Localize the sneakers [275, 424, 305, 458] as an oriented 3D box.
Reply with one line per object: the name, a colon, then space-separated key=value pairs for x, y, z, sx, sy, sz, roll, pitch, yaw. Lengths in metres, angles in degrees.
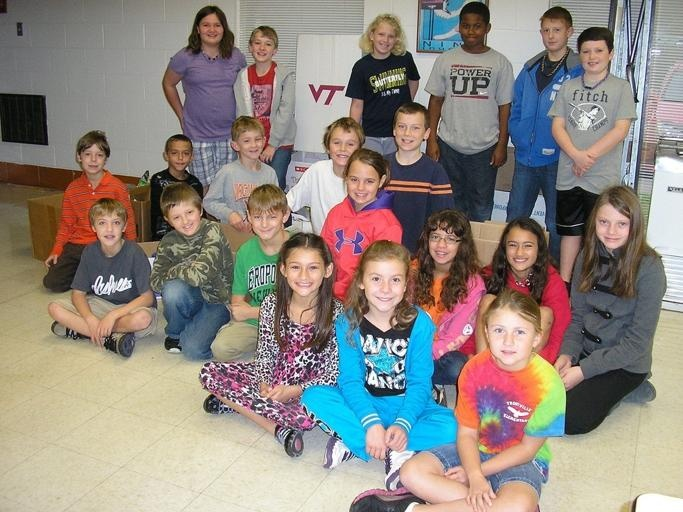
sneakers: x=-0.230 y=0.833 z=2.678 sx=0.080 sy=0.064 sz=0.189 roll=17 pitch=4 yaw=-30

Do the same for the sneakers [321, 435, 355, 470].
sneakers: x=-0.016 y=0.858 z=2.630 sx=0.145 sy=0.130 sz=0.057 roll=-45 pitch=4 yaw=8

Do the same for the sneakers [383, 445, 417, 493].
sneakers: x=0.239 y=0.875 z=2.421 sx=0.125 sy=0.172 sz=0.179 roll=0 pitch=17 yaw=7

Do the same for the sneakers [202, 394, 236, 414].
sneakers: x=-0.611 y=0.732 z=2.914 sx=0.181 sy=0.066 sz=0.075 roll=7 pitch=37 yaw=-28

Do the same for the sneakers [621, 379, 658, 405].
sneakers: x=1.537 y=0.717 z=3.040 sx=0.185 sy=0.112 sz=0.066 roll=-36 pitch=-14 yaw=9

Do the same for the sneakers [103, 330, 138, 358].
sneakers: x=-1.246 y=0.497 z=3.300 sx=0.174 sy=0.112 sz=0.069 roll=9 pitch=7 yaw=27

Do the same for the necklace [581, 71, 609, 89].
necklace: x=1.524 y=-1.043 z=3.537 sx=0.137 sy=0.082 sz=0.047 roll=4 pitch=18 yaw=20
